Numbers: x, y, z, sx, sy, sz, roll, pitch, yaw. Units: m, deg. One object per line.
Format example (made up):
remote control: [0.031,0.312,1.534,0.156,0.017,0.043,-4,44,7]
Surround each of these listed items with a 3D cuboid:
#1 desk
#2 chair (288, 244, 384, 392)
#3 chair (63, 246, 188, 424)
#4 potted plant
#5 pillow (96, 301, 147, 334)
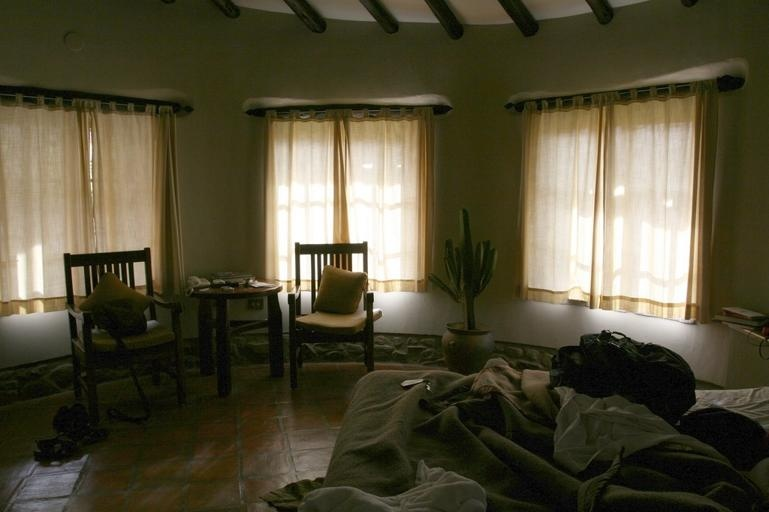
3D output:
desk: [-1.382,0.722,5.773,0.843,0.854,0.876,-1,5,24]
chair: [-0.505,0.499,5.821,1.009,1.139,0.985,-3,5,-20]
chair: [-2.195,0.606,5.160,0.976,1.254,0.950,-2,7,-7]
potted plant: [0.741,0.423,5.816,0.633,1.423,0.589,2,-10,-18]
pillow: [-2.175,0.525,5.035,0.304,0.273,0.117,2,-4,2]
